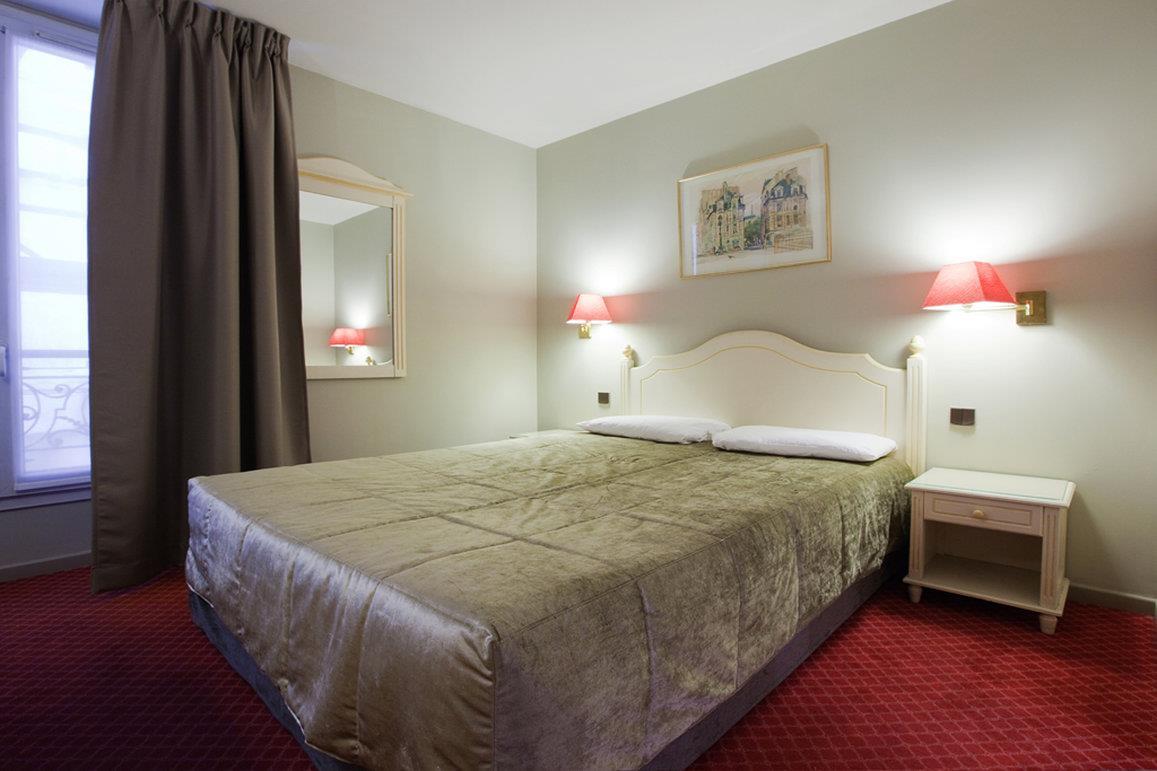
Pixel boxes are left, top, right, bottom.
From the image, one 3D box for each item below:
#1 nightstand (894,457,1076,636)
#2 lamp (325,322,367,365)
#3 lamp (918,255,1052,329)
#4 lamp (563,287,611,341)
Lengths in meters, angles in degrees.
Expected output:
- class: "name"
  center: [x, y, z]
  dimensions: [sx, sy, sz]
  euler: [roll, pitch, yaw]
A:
- class: "nightstand"
  center: [2.282, 0.836, 4.082]
  dimensions: [0.966, 0.962, 0.757]
  euler: [-2, -4, 38]
- class: "lamp"
  center: [-1.610, -0.279, 5.034]
  dimensions: [0.210, 0.274, 0.245]
  euler: [-2, -3, 33]
- class: "lamp"
  center: [2.333, -0.462, 4.044]
  dimensions: [0.579, 0.277, 0.347]
  euler: [6, -8, -34]
- class: "lamp"
  center: [0.039, -0.546, 5.649]
  dimensions: [0.329, 0.408, 0.362]
  euler: [1, 2, 43]
